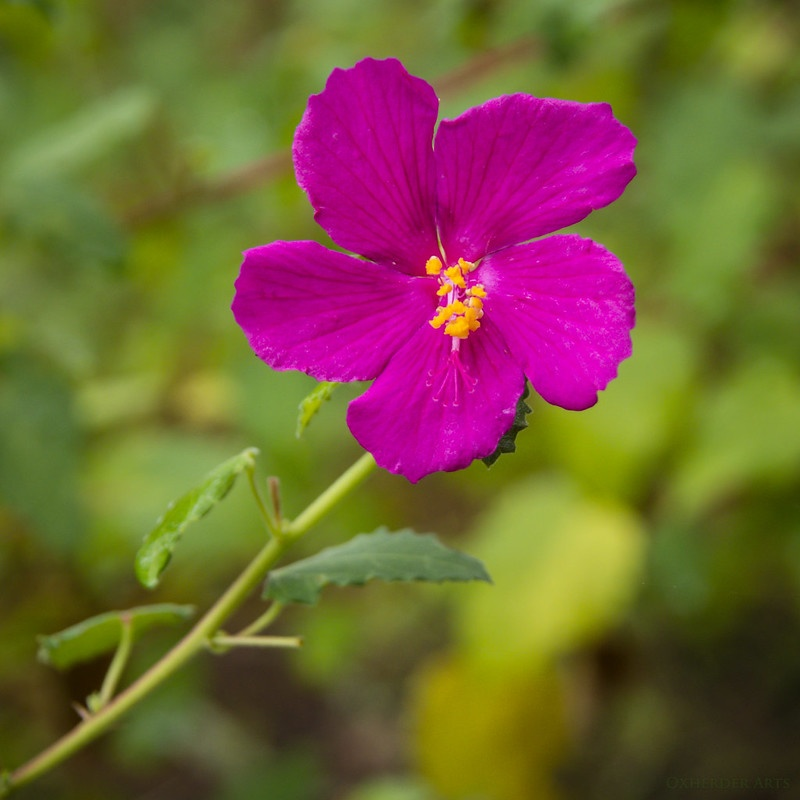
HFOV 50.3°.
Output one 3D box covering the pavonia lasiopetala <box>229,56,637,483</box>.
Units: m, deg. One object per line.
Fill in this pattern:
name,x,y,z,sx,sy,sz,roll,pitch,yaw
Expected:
pavonia lasiopetala,0.027,-0.096,0.665,0.304,0.135,0.284,8,-64,-4
